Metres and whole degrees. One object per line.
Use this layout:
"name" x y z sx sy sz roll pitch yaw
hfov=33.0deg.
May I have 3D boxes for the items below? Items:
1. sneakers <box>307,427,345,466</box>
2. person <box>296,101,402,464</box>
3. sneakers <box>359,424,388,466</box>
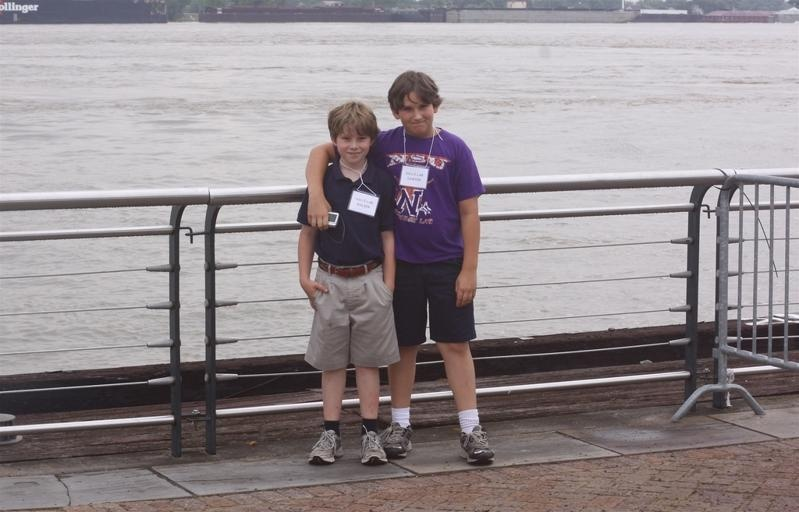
"sneakers" -0.567 1.512 10.603 0.193 0.143 0.376 1 1 19
"person" -0.387 0.200 10.607 0.821 2.815 0.639 -6 14 -11
"sneakers" -0.202 1.485 10.657 0.218 0.275 0.256 -3 12 -4
